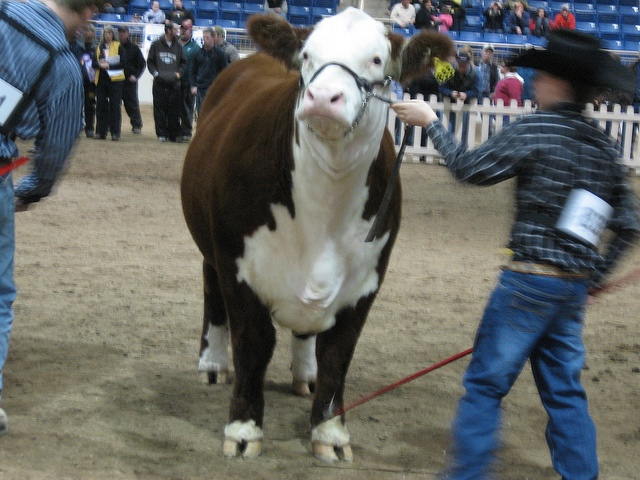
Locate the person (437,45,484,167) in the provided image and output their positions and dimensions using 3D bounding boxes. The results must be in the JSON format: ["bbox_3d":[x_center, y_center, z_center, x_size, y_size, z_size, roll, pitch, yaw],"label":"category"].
[{"bbox_3d":[2.265,-2.208,13.847,0.581,1.836,0.657,4,26,13],"label":"person"}]

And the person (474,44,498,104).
[{"bbox_3d":[2.871,-2.836,15.079,0.390,1.075,1.173,8,2,7],"label":"person"}]

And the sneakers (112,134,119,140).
[{"bbox_3d":[-3.591,-1.795,15.099,0.055,0.086,0.183,1,9,-1],"label":"sneakers"}]

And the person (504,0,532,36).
[{"bbox_3d":[4.919,-5.441,21.374,0.429,0.820,0.994,0,-28,6],"label":"person"}]

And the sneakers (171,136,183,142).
[{"bbox_3d":[-2.619,-1.857,15.759,0.201,0.132,0.086,-2,-1,-7],"label":"sneakers"}]

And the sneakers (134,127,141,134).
[{"bbox_3d":[-3.497,-2.097,16.510,0.082,0.154,0.133,5,-12,-28],"label":"sneakers"}]

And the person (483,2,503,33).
[{"bbox_3d":[4.422,-5.612,21.907,0.323,0.653,0.862,1,-1,2],"label":"person"}]

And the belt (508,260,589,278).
[{"bbox_3d":[1.270,0.159,4.804,0.443,0.074,0.094,7,14,4],"label":"belt"}]

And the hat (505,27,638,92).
[{"bbox_3d":[1.423,-0.973,4.750,0.392,0.175,0.427,25,6,-6],"label":"hat"}]
